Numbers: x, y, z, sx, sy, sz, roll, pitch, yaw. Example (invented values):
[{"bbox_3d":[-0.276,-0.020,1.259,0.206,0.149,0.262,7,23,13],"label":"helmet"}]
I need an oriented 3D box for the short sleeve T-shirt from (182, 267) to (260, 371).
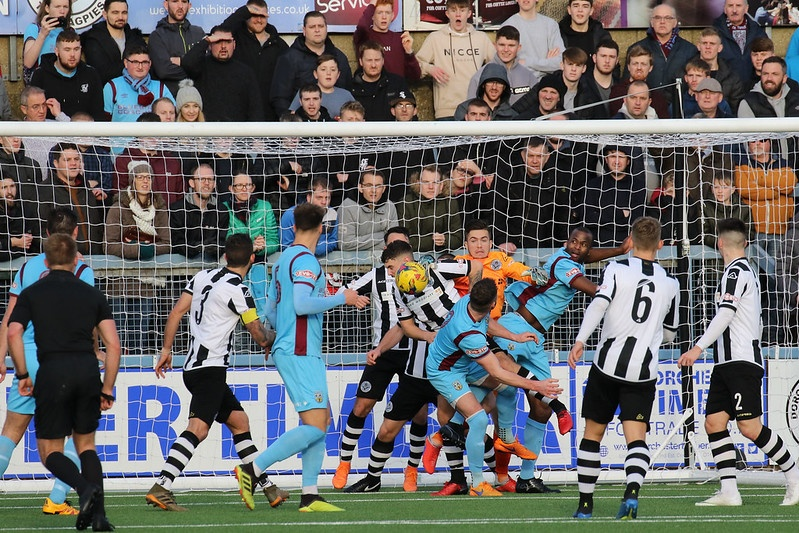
[{"bbox_3d":[-2.033,0.616,14.173,0.987,1.199,0.501,14,13,29],"label":"short sleeve T-shirt"}]

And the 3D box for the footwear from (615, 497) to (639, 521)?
[{"bbox_3d":[2.348,2.503,12.793,0.207,0.227,0.233,0,0,7],"label":"footwear"}]

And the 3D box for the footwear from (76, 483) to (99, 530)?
[{"bbox_3d":[-3.104,2.385,12.284,0.236,0.498,0.173,19,15,33],"label":"footwear"}]

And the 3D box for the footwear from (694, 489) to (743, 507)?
[{"bbox_3d":[3.514,2.578,13.754,0.549,0.212,0.188,2,-3,3],"label":"footwear"}]

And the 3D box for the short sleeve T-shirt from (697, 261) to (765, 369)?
[{"bbox_3d":[3.798,0.585,14.167,0.408,1.086,1.273,4,0,34],"label":"short sleeve T-shirt"}]

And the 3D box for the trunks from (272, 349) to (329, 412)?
[{"bbox_3d":[-1.041,1.287,13.445,0.411,0.727,0.512,3,-18,-26],"label":"trunks"}]

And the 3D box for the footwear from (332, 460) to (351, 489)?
[{"bbox_3d":[-0.681,2.534,15.013,0.145,0.440,0.174,13,-11,4],"label":"footwear"}]

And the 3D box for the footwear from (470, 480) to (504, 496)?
[{"bbox_3d":[1.025,2.609,14.468,0.380,0.171,0.164,0,21,3],"label":"footwear"}]

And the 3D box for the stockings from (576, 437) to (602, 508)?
[{"bbox_3d":[1.988,2.202,13.014,0.223,0.747,0.253,0,0,6],"label":"stockings"}]

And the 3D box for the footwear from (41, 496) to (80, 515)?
[{"bbox_3d":[-3.678,2.603,13.587,0.487,0.215,0.179,2,7,-16],"label":"footwear"}]

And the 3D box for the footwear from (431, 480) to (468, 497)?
[{"bbox_3d":[0.605,2.643,14.733,0.412,0.163,0.162,0,-2,-16],"label":"footwear"}]

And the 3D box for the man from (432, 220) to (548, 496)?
[{"bbox_3d":[1.091,0.775,15.011,0.852,2.681,1.338,-15,16,-27],"label":"man"}]

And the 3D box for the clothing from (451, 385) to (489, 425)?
[{"bbox_3d":[0.802,1.573,14.134,0.252,0.347,0.429,-6,10,26],"label":"clothing"}]

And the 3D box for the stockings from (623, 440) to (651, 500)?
[{"bbox_3d":[2.471,2.123,12.914,0.248,0.616,0.458,0,0,11],"label":"stockings"}]

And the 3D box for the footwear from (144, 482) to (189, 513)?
[{"bbox_3d":[-2.548,2.530,13.621,0.418,0.315,0.298,0,0,-13],"label":"footwear"}]

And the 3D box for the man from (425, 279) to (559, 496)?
[{"bbox_3d":[1.228,1.274,14.109,1.482,2.440,1.433,8,19,38],"label":"man"}]

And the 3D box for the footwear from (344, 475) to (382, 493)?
[{"bbox_3d":[-0.427,2.603,14.957,0.468,0.204,0.171,-7,13,-26],"label":"footwear"}]

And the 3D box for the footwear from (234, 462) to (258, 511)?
[{"bbox_3d":[-1.626,2.323,13.339,0.263,0.562,0.195,-12,4,0],"label":"footwear"}]

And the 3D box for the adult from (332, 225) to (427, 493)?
[{"bbox_3d":[-0.100,1.231,14.989,1.340,3.131,1.234,8,-26,8],"label":"adult"}]

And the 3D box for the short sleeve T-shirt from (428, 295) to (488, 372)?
[{"bbox_3d":[0.707,0.797,13.919,0.360,0.934,0.800,0,0,-43],"label":"short sleeve T-shirt"}]

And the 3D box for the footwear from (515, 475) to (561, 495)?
[{"bbox_3d":[1.667,2.601,14.737,0.576,0.222,0.198,1,-1,0],"label":"footwear"}]

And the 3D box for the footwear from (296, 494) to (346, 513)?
[{"bbox_3d":[-0.831,2.519,13.309,0.537,0.238,0.189,-1,1,-8],"label":"footwear"}]

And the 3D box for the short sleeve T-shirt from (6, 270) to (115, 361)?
[{"bbox_3d":[-3.521,0.525,12.859,0.964,0.813,0.389,-1,1,-5],"label":"short sleeve T-shirt"}]

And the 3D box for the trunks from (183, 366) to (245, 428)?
[{"bbox_3d":[-2.070,1.380,14.048,0.540,0.747,0.991,-2,-4,5],"label":"trunks"}]

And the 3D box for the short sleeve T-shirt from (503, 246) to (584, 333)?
[{"bbox_3d":[1.752,0.274,14.674,0.819,0.966,0.387,38,-2,27],"label":"short sleeve T-shirt"}]

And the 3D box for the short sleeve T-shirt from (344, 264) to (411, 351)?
[{"bbox_3d":[-0.237,0.519,14.888,1.009,0.931,0.272,-1,12,3],"label":"short sleeve T-shirt"}]

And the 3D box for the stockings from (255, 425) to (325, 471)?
[{"bbox_3d":[-1.130,2.002,13.402,0.335,0.429,1.435,-27,3,-25],"label":"stockings"}]

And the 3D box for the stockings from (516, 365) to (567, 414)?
[{"bbox_3d":[1.685,1.426,14.484,0.205,0.750,0.179,-47,-2,-28],"label":"stockings"}]

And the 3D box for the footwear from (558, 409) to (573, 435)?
[{"bbox_3d":[1.940,1.796,14.476,0.126,0.153,0.385,-4,28,7],"label":"footwear"}]

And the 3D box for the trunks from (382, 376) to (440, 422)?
[{"bbox_3d":[0.158,1.582,14.766,0.548,0.490,0.219,16,17,-17],"label":"trunks"}]

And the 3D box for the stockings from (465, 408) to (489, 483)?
[{"bbox_3d":[0.912,2.116,14.180,0.268,0.895,0.241,1,9,36],"label":"stockings"}]

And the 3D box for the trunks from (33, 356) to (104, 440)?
[{"bbox_3d":[-3.358,1.334,12.622,0.769,0.924,0.536,-1,10,-25],"label":"trunks"}]

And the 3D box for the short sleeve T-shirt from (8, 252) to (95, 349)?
[{"bbox_3d":[-3.590,0.383,12.894,0.967,1.171,0.411,-1,-7,6],"label":"short sleeve T-shirt"}]

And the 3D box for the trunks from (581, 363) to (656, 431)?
[{"bbox_3d":[2.343,1.348,13.244,0.774,0.751,0.461,0,-7,25],"label":"trunks"}]

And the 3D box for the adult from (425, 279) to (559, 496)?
[{"bbox_3d":[1.220,1.311,14.077,1.466,2.428,1.404,1,10,32],"label":"adult"}]

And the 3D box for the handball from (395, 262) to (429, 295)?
[{"bbox_3d":[0.168,0.125,14.110,0.392,0.378,0.309,0,0,-15],"label":"handball"}]
